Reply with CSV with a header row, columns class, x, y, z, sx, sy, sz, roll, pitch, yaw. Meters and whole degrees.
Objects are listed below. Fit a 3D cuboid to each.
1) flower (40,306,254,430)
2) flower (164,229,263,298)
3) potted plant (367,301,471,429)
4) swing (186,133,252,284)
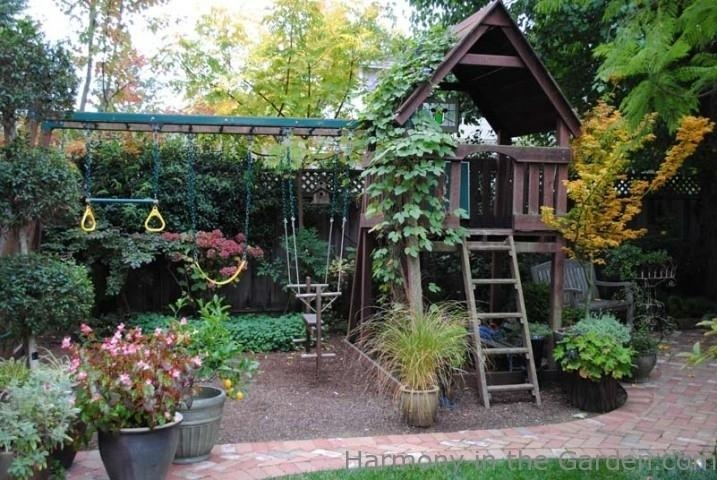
class,x,y,z,sx,sy,sz,roll,pitch,yaw
flower,-2.125,1.376,6.442,1.352,1.023,1.499,2,-2,-11
flower,-2.640,0.281,10.968,1.085,1.483,1.609,3,-4,-34
potted plant,0.794,1.541,7.793,1.215,1.330,1.153,1,8,7
swing,-2.378,-0.463,10.461,1.104,2.921,1.017,1,-3,-17
